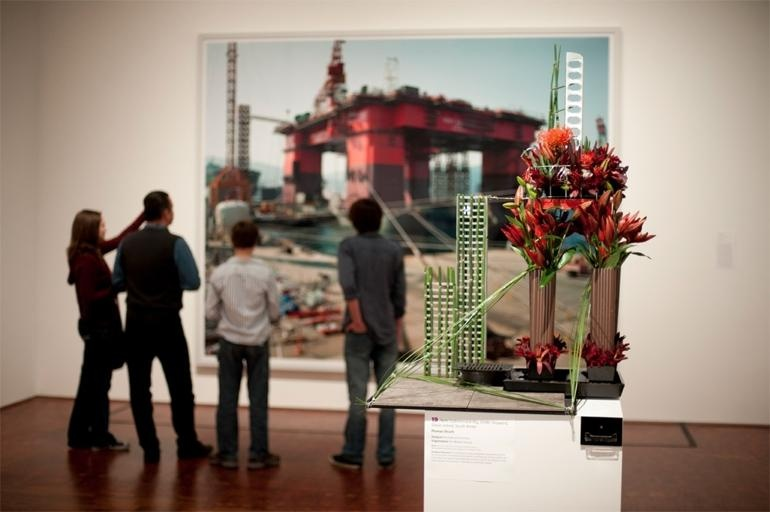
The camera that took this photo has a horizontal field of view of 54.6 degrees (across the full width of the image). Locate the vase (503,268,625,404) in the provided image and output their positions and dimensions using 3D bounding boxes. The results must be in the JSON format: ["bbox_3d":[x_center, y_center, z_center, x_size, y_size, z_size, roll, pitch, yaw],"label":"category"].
[{"bbox_3d":[1.128,0.450,4.652,0.786,0.863,0.719,1,-3,11],"label":"vase"}]

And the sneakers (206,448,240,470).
[{"bbox_3d":[-1.258,1.567,5.760,0.230,0.105,0.109,9,-1,23],"label":"sneakers"}]

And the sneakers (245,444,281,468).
[{"bbox_3d":[-0.937,1.572,5.818,0.111,0.126,0.291,-1,-5,40],"label":"sneakers"}]

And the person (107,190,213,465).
[{"bbox_3d":[-1.698,0.564,5.711,0.611,2.098,0.169,1,6,-2],"label":"person"}]

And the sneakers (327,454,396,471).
[{"bbox_3d":[-0.173,1.574,5.838,0.516,0.211,0.174,-1,-4,9],"label":"sneakers"}]

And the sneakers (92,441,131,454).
[{"bbox_3d":[-2.206,1.535,5.957,0.285,0.084,0.063,-3,15,-9],"label":"sneakers"}]

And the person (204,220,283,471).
[{"bbox_3d":[-1.090,0.685,5.656,0.543,1.899,0.140,0,6,-11],"label":"person"}]

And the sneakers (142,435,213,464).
[{"bbox_3d":[-1.579,1.529,5.878,0.603,0.245,0.201,-3,-1,-8],"label":"sneakers"}]

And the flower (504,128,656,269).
[{"bbox_3d":[1.106,-0.290,4.622,0.834,0.772,0.840,1,1,-24],"label":"flower"}]
